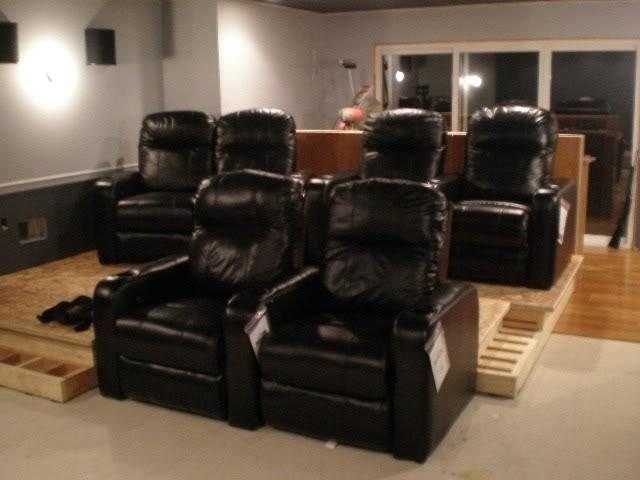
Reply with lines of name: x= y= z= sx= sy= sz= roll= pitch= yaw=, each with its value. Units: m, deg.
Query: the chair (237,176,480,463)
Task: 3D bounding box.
chair: x=0.264 y=0.336 z=2.671 sx=0.886 sy=1.230 sz=0.867 roll=6 pitch=16 yaw=27

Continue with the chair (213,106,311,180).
chair: x=-0.554 y=-0.904 z=5.041 sx=0.866 sy=0.716 sz=0.703 roll=2 pitch=6 yaw=12

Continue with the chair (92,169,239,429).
chair: x=-0.747 y=0.488 z=2.974 sx=0.832 sy=0.814 sz=0.606 roll=6 pitch=16 yaw=25
